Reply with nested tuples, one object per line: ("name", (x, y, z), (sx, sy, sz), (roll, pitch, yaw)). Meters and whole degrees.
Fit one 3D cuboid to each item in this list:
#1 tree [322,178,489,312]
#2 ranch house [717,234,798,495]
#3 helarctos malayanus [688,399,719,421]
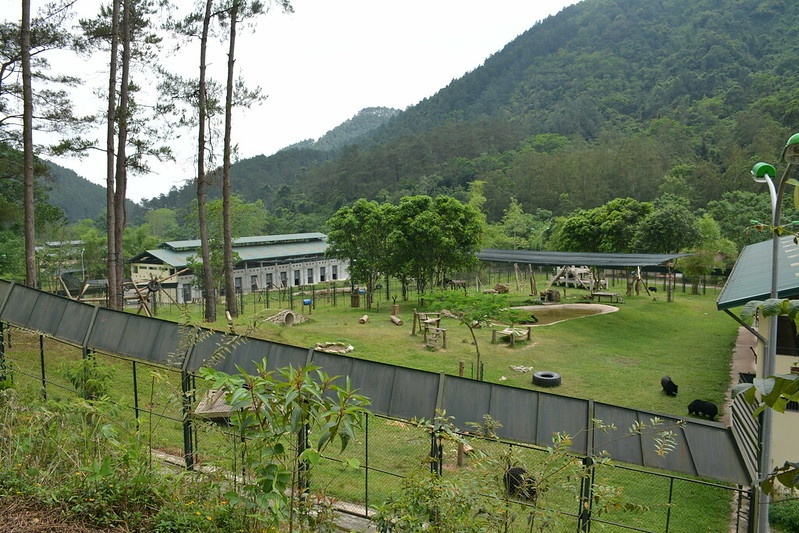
("tree", (0.314, -1.499, 56.112), (11.418, 9.121, 5.885), (-1, -1, 41))
("ranch house", (14.160, 3.894, 26.427), (2.958, 2.801, 11.554), (-15, 13, 34))
("helarctos malayanus", (14.299, 6.596, 31.057), (0.668, 0.782, 1.393), (0, 8, -41))
